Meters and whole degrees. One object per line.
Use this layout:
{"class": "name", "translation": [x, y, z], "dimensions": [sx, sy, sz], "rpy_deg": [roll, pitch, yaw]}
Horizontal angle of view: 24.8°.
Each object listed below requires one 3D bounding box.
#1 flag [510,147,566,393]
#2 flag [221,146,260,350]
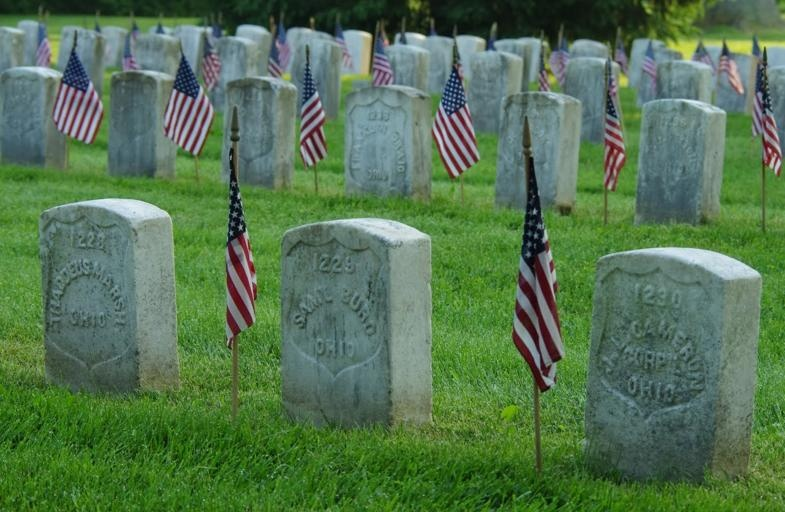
{"class": "flag", "translation": [2.462, 0.264, 30.038], "dimensions": [0.801, 3.895, 0.279], "rpy_deg": [3, 5, 4]}
{"class": "flag", "translation": [-2.590, -0.179, 30.871], "dimensions": [0.520, 3.432, 0.622], "rpy_deg": [2, 5, -6]}
